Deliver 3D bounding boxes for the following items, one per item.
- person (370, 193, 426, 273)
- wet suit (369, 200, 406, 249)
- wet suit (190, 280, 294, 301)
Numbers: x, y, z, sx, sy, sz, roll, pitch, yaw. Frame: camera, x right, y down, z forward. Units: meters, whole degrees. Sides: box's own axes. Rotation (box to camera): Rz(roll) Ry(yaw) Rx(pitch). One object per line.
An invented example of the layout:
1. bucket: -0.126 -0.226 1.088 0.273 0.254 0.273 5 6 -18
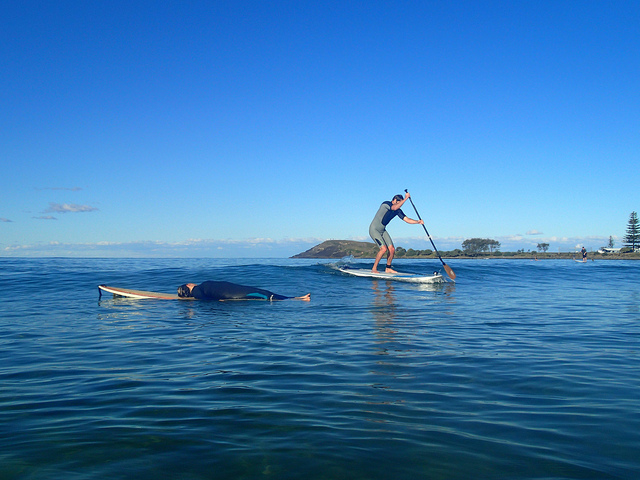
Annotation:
1. person: 2.580 -0.175 18.319 1.495 3.045 1.227 3 7 21
2. wet suit: 2.565 -0.580 17.897 1.407 3.011 1.119 1 -2 -7
3. wet suit: -2.340 1.424 13.374 2.355 0.520 0.329 0 6 -6
